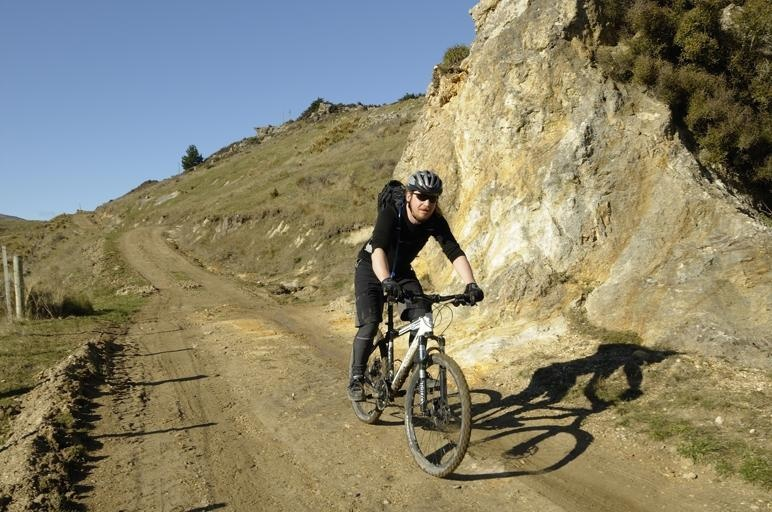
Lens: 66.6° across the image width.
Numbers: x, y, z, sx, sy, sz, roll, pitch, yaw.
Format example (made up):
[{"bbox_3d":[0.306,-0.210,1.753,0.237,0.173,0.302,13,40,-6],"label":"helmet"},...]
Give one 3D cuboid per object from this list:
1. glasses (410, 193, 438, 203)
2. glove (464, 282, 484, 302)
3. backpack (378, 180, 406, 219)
[{"bbox_3d":[0.676,-1.024,10.410,0.246,0.068,0.239,7,-8,-13],"label":"glasses"},{"bbox_3d":[1.524,0.641,10.401,0.307,0.333,0.285,1,5,7],"label":"glove"},{"bbox_3d":[0.094,-1.098,10.872,0.539,0.602,0.383,1,5,8],"label":"backpack"}]
